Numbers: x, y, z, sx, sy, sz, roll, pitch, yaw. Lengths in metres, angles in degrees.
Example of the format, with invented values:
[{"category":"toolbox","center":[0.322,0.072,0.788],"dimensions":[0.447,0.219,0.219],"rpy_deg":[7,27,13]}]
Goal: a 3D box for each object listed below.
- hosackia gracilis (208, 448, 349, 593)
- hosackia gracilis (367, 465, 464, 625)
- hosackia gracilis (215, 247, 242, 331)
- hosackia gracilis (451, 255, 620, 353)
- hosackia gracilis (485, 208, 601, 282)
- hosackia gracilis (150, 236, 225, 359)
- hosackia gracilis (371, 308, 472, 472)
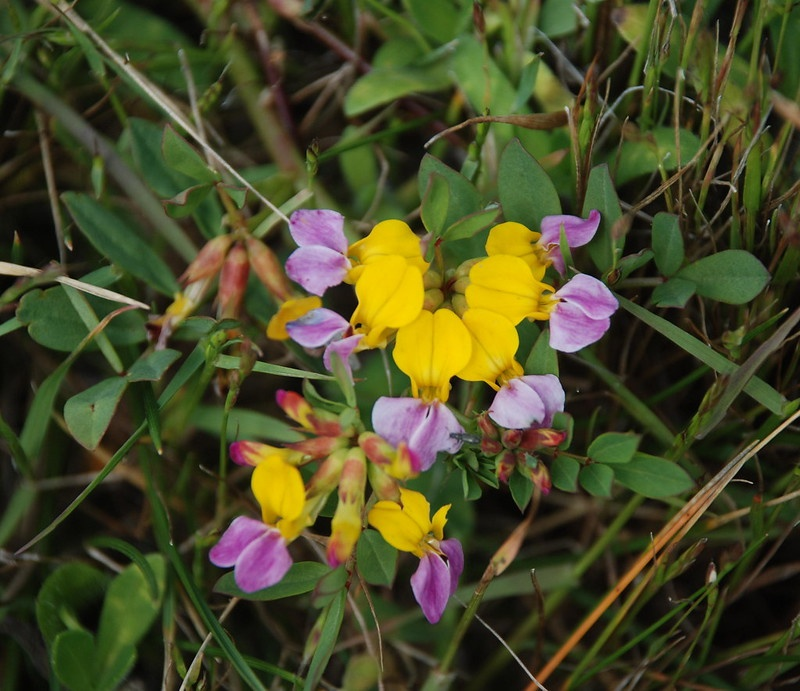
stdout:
[{"category":"hosackia gracilis","center":[-0.246,0.362,1.676],"dimensions":[0.100,0.294,0.211],"rpy_deg":[6,30,-43]},{"category":"hosackia gracilis","center":[0.065,0.466,1.801],"dimensions":[0.179,0.335,0.251],"rpy_deg":[-31,61,-17]},{"category":"hosackia gracilis","center":[-0.432,-0.148,2.056],"dimensions":[0.048,0.063,0.195],"rpy_deg":[7,72,-14]},{"category":"hosackia gracilis","center":[0.300,-0.092,1.776],"dimensions":[0.312,0.068,0.194],"rpy_deg":[15,76,-1]},{"category":"hosackia gracilis","center":[0.319,-0.228,1.808],"dimensions":[0.219,0.059,0.153],"rpy_deg":[-17,62,13]},{"category":"hosackia gracilis","center":[-0.564,-0.126,2.126],"dimensions":[0.094,0.079,0.384],"rpy_deg":[35,88,-17]},{"category":"hosackia gracilis","center":[0.057,0.106,1.741],"dimensions":[0.199,0.075,0.391],"rpy_deg":[8,55,7]}]
